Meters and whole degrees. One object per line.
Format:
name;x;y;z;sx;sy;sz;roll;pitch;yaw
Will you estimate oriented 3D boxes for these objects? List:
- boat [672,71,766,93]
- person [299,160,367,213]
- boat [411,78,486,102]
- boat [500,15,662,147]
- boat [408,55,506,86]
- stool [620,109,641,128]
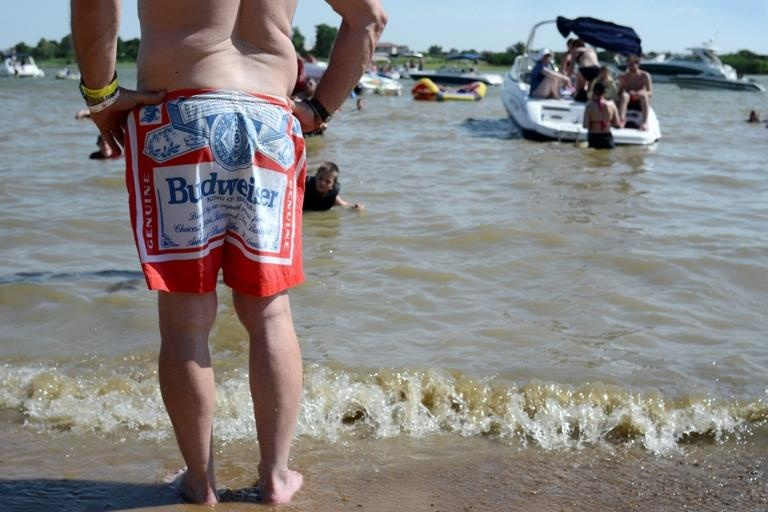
boat;10.162;-5.555;33.297;3.830;0.493;0.893;8;3;37
person;-0.733;-0.744;11.325;0.877;0.456;0.665;12;-9;-17
boat;1.975;-5.030;31.547;1.738;0.498;1.364;-3;17;-26
boat;2.597;-3.282;18.319;1.747;1.255;3.550;-6;-6;-34
boat;2.715;-7.226;40.778;3.474;1.053;0.988;6;30;1
stool;4.016;-2.204;16.869;0.412;0.174;0.384;6;43;19
